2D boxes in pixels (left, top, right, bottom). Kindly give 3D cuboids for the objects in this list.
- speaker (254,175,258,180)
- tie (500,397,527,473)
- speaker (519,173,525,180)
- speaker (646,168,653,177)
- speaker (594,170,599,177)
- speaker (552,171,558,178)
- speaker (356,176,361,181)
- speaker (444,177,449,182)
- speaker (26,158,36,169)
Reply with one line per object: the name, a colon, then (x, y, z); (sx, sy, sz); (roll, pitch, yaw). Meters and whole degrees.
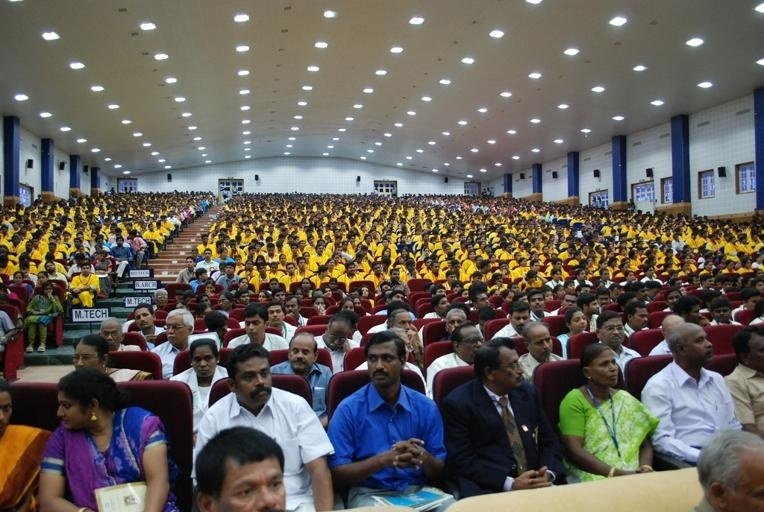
speaker: (-8.690, -5.397, 39.822); (0.230, 0.373, 0.265); (0, -2, -2)
tie: (1.372, 1.881, 6.050); (0.151, 0.852, 0.198); (-14, -4, -8)
speaker: (9.012, -5.133, 37.167); (0.303, 0.482, 0.317); (-2, -3, 28)
speaker: (12.105, -3.740, 26.063); (0.349, 0.399, 0.348); (4, -6, -43)
speaker: (10.957, -4.219, 29.412); (0.218, 0.490, 0.335); (-1, -6, 3)
speaker: (9.958, -4.678, 33.209); (0.187, 0.389, 0.369); (3, -6, -41)
speaker: (-1.673, -5.460, 40.854); (0.277, 0.565, 0.293); (-1, -2, -4)
speaker: (4.685, -5.533, 41.932); (0.285, 0.590, 0.299); (-2, 6, -13)
speaker: (-14.986, -3.924, 24.608); (0.303, 0.463, 0.441); (5, 5, 39)
